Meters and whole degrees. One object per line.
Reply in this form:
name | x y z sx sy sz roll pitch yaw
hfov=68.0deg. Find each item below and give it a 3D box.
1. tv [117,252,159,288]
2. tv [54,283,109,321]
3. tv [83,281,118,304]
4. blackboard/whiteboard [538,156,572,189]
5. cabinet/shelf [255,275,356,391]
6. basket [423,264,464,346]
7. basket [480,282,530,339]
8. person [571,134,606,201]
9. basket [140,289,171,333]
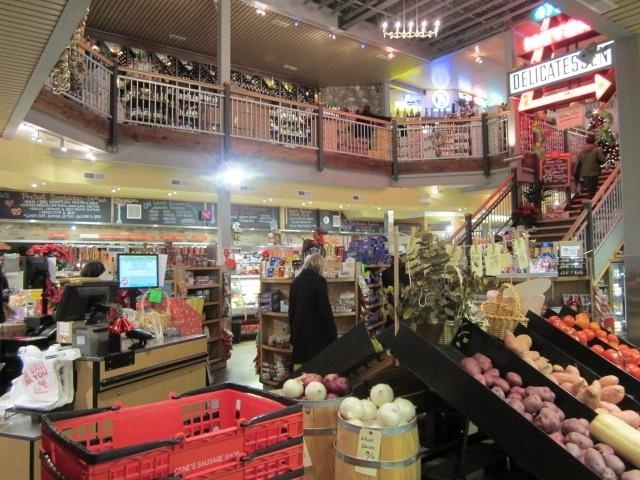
tv | -2.315 0.402 5.995 0.393 0.364 0.139 3 -11 -38
tv | -2.128 0.573 4.258 0.159 0.265 0.342 3 -2 26
tv | -2.080 0.506 4.508 0.170 0.192 0.271 -1 -3 10
blackboard/whiteboard | 5.697 -1.602 11.397 0.171 1.095 0.789 9 -7 -43
cabinet/shelf | -0.008 1.189 6.971 1.451 1.698 1.445 -3 -5 25
basket | 0.837 0.451 3.252 0.345 0.524 0.165 -2 0 5
basket | 1.456 0.562 3.685 0.384 0.415 0.312 -8 11 -32
person | 5.860 -1.602 10.325 0.587 1.302 1.108 -2 1 29
basket | -1.686 0.759 4.826 0.293 0.506 0.392 -2 0 -20
